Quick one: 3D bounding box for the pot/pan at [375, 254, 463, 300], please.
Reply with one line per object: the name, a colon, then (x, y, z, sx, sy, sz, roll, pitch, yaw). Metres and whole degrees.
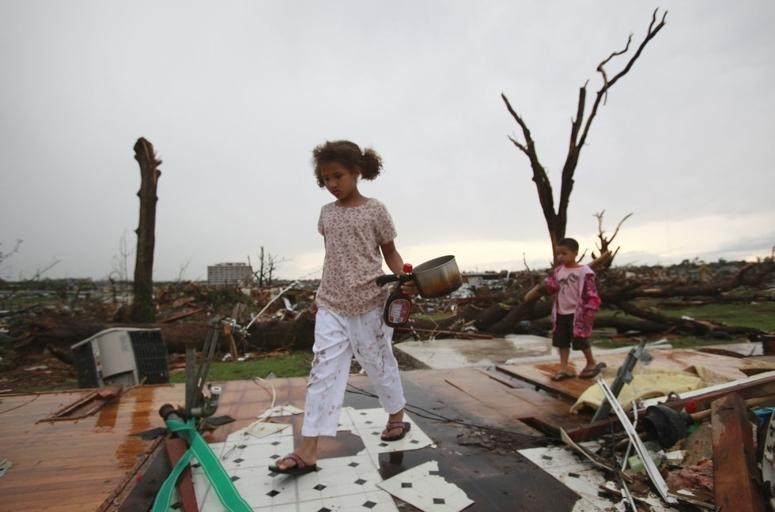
pot/pan: (0.278, 0.176, 3.400, 0.683, 0.304, 0.342, -23, 5, -5)

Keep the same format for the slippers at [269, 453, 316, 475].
slippers: (-0.728, 1.568, 3.092, 0.153, 0.090, 0.293, -13, -23, 42)

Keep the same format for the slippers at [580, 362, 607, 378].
slippers: (2.408, 1.332, 4.718, 0.418, 0.106, 0.138, -13, -15, -47)

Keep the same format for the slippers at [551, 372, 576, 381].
slippers: (2.049, 1.383, 4.661, 0.271, 0.057, 0.099, 1, -4, -26)

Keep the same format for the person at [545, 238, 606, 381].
person: (2.188, 0.606, 4.788, 0.610, 1.582, 0.542, -9, -4, 25)
